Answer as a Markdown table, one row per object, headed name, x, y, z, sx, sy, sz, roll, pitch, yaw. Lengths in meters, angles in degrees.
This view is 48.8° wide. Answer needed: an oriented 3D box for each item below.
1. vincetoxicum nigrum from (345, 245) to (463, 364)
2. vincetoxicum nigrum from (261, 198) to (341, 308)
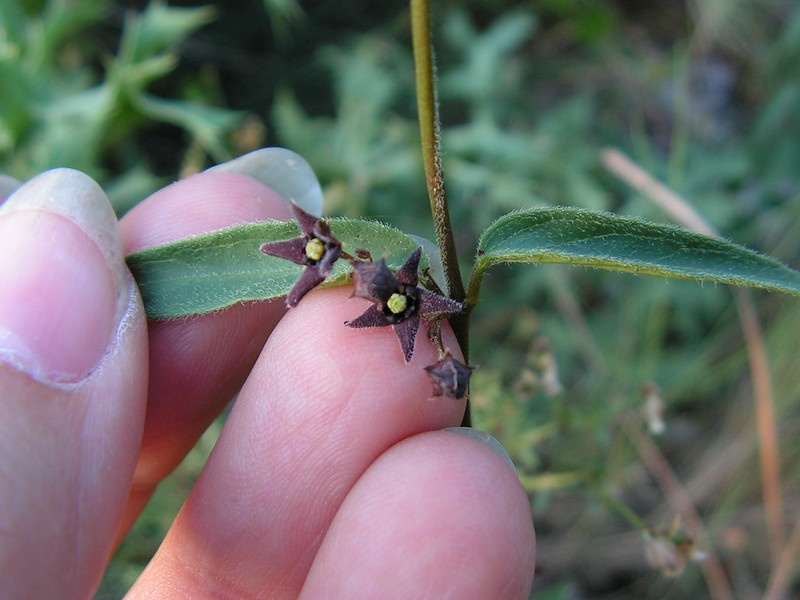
| name | x | y | z | sx | sy | sz | roll | pitch | yaw |
| --- | --- | --- | --- | --- | --- | --- | --- | --- | --- |
| vincetoxicum nigrum | 0.006 | -0.010 | 4.004 | 0.476 | 0.225 | 0.555 | -30 | -88 | -2 |
| vincetoxicum nigrum | -0.446 | -0.200 | 4.017 | 0.371 | 0.345 | 0.306 | 18 | -47 | -16 |
